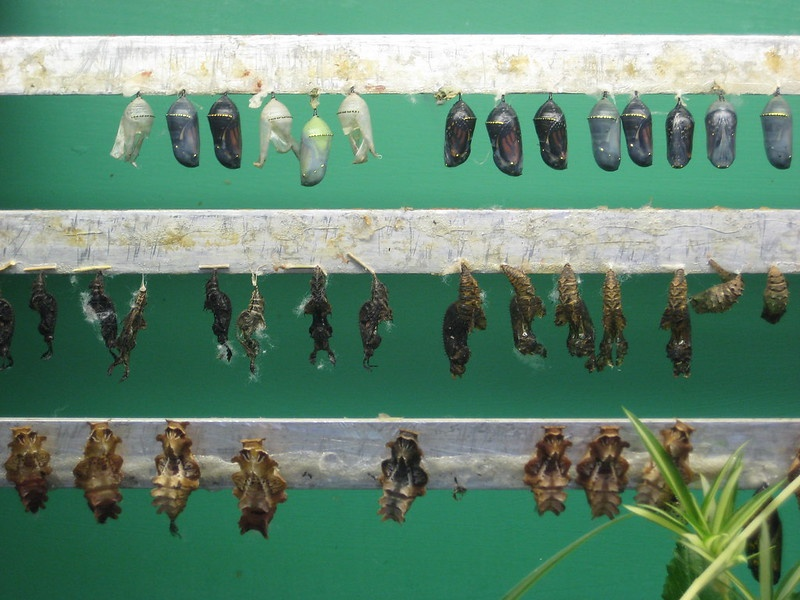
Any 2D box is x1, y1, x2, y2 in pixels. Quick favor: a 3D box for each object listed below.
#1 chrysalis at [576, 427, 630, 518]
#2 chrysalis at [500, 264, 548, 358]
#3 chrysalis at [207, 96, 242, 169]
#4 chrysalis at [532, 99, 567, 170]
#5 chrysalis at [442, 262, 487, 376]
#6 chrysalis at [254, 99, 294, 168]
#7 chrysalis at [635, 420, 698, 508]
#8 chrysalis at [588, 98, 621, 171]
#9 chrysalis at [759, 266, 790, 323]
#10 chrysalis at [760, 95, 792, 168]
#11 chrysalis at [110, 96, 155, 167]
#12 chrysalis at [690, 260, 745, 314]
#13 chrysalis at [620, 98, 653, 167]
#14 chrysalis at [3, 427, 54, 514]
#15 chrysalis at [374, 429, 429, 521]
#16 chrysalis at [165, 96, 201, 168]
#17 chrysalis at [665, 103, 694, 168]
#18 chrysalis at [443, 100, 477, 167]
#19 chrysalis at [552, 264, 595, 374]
[{"bbox_3d":[0.902,0.755,4.641,0.220,0.404,0.145,2,12,4],"label":"chrysalis"},{"bbox_3d":[0.576,0.055,4.782,0.193,0.444,0.126,-2,21,6],"label":"chrysalis"},{"bbox_3d":[-0.780,-0.763,4.800,0.093,0.305,0.157,5,14,41],"label":"chrysalis"},{"bbox_3d":[0.683,-0.750,4.793,0.154,0.296,0.106,10,15,34],"label":"chrysalis"},{"bbox_3d":[0.276,0.109,4.862,0.163,0.549,0.217,8,16,19],"label":"chrysalis"},{"bbox_3d":[-0.573,-0.768,4.826,0.183,0.296,0.173,1,-30,-5],"label":"chrysalis"},{"bbox_3d":[1.174,0.739,4.652,0.196,0.460,0.244,17,4,24],"label":"chrysalis"},{"bbox_3d":[0.940,-0.750,4.801,0.137,0.271,0.178,-5,-30,6],"label":"chrysalis"},{"bbox_3d":[1.709,-0.029,4.762,0.126,0.249,0.093,9,-20,3],"label":"chrysalis"},{"bbox_3d":[1.727,-0.761,4.801,0.124,0.281,0.168,-9,-31,13],"label":"chrysalis"},{"bbox_3d":[-1.227,-0.796,4.849,0.127,0.274,0.211,14,-33,-26],"label":"chrysalis"},{"bbox_3d":[1.426,-0.048,4.779,0.159,0.222,0.235,11,-32,-22],"label":"chrysalis"},{"bbox_3d":[1.088,-0.780,4.816,0.130,0.303,0.177,-10,-31,14],"label":"chrysalis"},{"bbox_3d":[-1.664,0.743,4.703,0.207,0.401,0.146,-5,5,-21],"label":"chrysalis"},{"bbox_3d":[0.012,0.780,4.722,0.229,0.399,0.234,-2,-30,0],"label":"chrysalis"},{"bbox_3d":[-0.988,-0.768,4.815,0.125,0.267,0.179,-7,-30,10],"label":"chrysalis"},{"bbox_3d":[1.285,-0.759,4.830,0.139,0.310,0.172,-7,-30,10],"label":"chrysalis"},{"bbox_3d":[0.264,-0.753,4.784,0.164,0.274,0.080,6,6,43],"label":"chrysalis"},{"bbox_3d":[0.799,0.083,4.829,0.170,0.478,0.164,-5,3,29],"label":"chrysalis"}]
